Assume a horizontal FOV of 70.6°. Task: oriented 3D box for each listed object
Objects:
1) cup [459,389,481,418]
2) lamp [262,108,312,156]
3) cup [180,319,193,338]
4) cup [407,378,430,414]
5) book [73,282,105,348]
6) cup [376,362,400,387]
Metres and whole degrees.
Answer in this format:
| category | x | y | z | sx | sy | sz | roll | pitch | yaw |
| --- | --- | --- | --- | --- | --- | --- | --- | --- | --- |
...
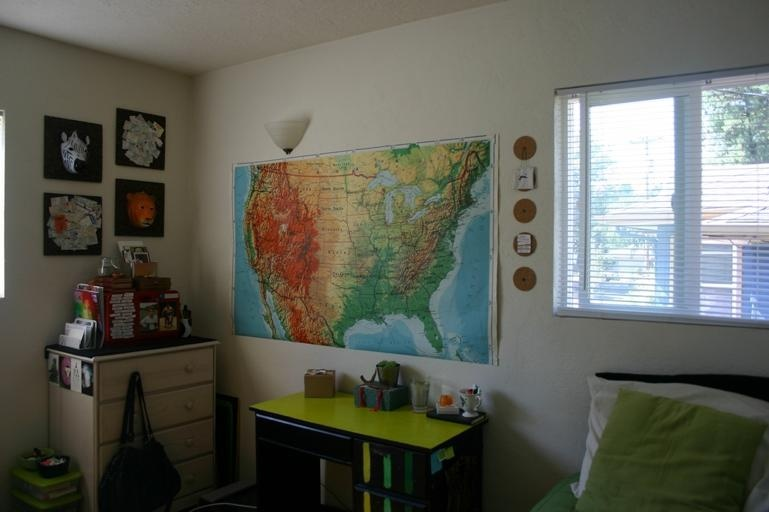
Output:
| category | x | y | z | sx | sy | sz | roll | pitch | yaw |
| --- | --- | --- | --- | --- | --- | --- | --- | --- | --- |
| cup | 0.539 | 0.910 | 3.372 | 0.164 | 0.135 | 0.128 | 2 | -5 | -27 |
| lamp | -0.712 | -0.920 | 4.100 | 0.294 | 0.232 | 0.334 | -1 | 1 | 18 |
| cup | -1.553 | 0.564 | 4.308 | 0.063 | 0.149 | 0.060 | 0 | 2 | 0 |
| cup | 0.224 | 0.931 | 3.569 | 0.143 | 0.166 | 0.148 | 1 | -14 | 0 |
| book | -2.098 | 0.436 | 3.929 | 0.413 | 0.495 | 0.049 | -5 | -6 | 37 |
| cup | 0.034 | 0.782 | 3.627 | 0.139 | 0.116 | 0.151 | 0 | -4 | 0 |
